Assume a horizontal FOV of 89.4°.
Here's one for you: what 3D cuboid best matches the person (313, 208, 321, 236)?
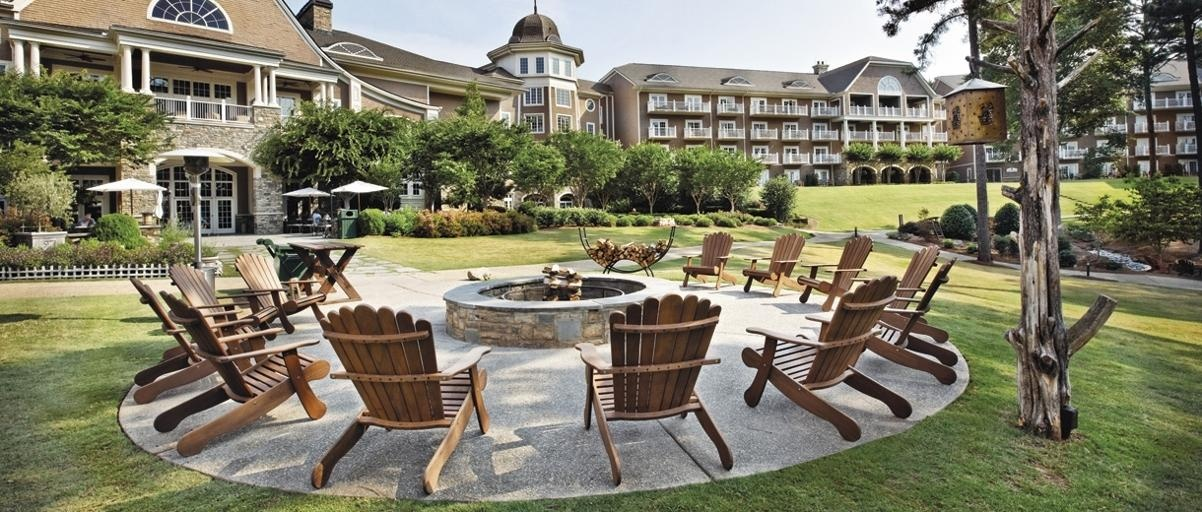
[{"bbox_3d":[-20.118,-2.425,42.825,0.580,1.254,0.983,-5,7,-24],"label":"person"}]

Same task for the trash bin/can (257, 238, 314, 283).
[{"bbox_3d":[-14.465,0.116,27.920,2.603,1.399,2.212,-1,6,-19],"label":"trash bin/can"}]
